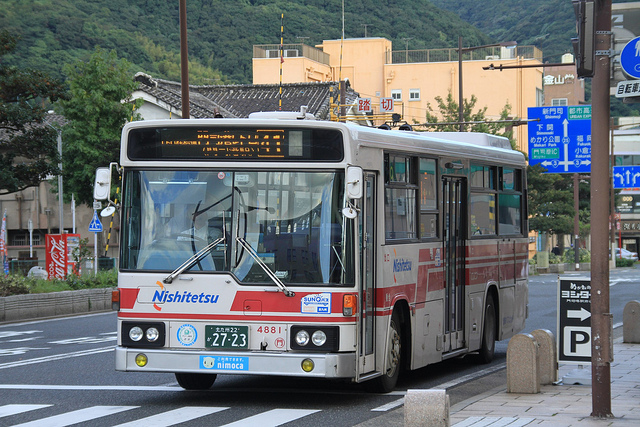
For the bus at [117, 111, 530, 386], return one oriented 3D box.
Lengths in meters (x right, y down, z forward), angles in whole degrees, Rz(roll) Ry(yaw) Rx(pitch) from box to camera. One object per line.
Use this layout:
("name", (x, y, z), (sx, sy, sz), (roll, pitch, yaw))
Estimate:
("bus", (0.510, 0.555, 14.817), (7.599, 4.459, 3.008), (2, -1, -44))
